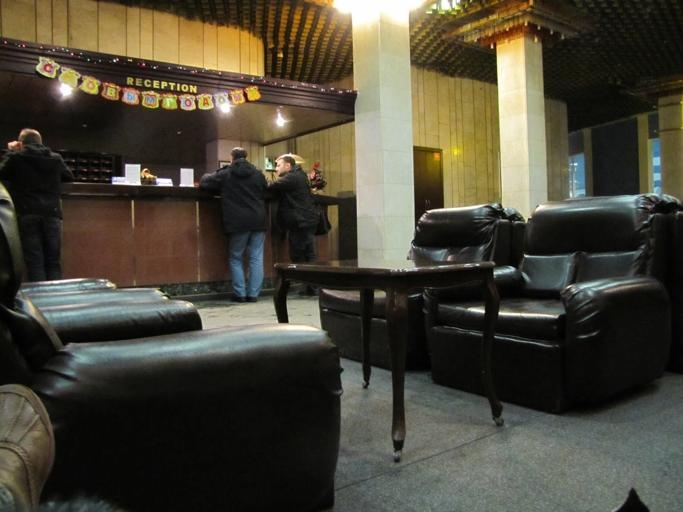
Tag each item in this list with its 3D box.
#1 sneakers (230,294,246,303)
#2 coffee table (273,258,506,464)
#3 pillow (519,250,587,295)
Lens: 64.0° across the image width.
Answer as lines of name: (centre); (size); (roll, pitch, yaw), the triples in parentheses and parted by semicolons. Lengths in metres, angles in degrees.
sneakers: (-1.162, 0.468, 6.071); (0.074, 0.089, 0.194); (-4, 13, -36)
coffee table: (0.191, 0.552, 2.443); (0.712, 0.839, 1.052); (1, -3, -36)
pillow: (1.155, 0.097, 3.046); (0.241, 0.261, 0.224); (-2, -8, 31)
